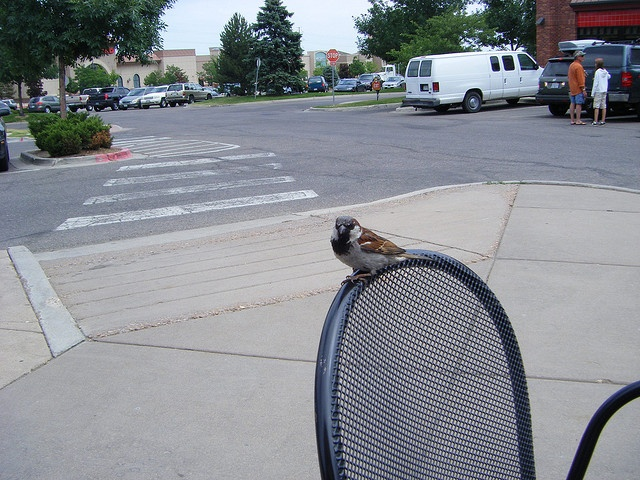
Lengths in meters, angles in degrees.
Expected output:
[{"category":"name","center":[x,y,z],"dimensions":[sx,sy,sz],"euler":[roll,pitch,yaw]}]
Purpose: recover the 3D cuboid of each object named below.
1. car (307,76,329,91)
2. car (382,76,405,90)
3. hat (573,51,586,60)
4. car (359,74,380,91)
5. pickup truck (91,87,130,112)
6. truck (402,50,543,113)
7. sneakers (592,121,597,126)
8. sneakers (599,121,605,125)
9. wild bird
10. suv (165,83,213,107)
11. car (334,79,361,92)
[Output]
[{"category":"car","center":[-0.315,-16.708,55.185],"dimensions":[1.957,1.564,1.663],"euler":[0,19,8]},{"category":"car","center":[7.671,-16.504,53.603],"dimensions":[2.182,1.164,5.427],"euler":[0,17,7]},{"category":"hat","center":[8.290,-5.916,16.442],"dimensions":[0.252,0.265,0.708],"euler":[6,19,22]},{"category":"car","center":[5.604,-18.294,59.251],"dimensions":[1.705,1.714,5.885],"euler":[-1,17,5]},{"category":"pickup truck","center":[-19.588,-13.296,48.294],"dimensions":[2.241,1.295,3.601],"euler":[7,24,24]},{"category":"truck","center":[7.137,-7.266,23.607],"dimensions":[6.810,2.586,2.113],"euler":[-9,20,-22]},{"category":"sneakers","center":[8.892,-3.783,16.634],"dimensions":[0.156,0.100,0.249],"euler":[-6,13,12]},{"category":"sneakers","center":[9.201,-3.830,16.748],"dimensions":[0.106,0.124,0.327],"euler":[20,41,18]},{"category":"wild bird","center":[0.224,0.045,2.308],"dimensions":[0.471,0.247,0.208],"euler":[-1,19,33]},{"category":"suv","center":[-13.364,-14.521,51.198],"dimensions":[1.321,2.039,4.873],"euler":[5,19,22]},{"category":"car","center":[3.009,-16.433,54.687],"dimensions":[2.423,1.331,2.987],"euler":[3,18,17]}]
